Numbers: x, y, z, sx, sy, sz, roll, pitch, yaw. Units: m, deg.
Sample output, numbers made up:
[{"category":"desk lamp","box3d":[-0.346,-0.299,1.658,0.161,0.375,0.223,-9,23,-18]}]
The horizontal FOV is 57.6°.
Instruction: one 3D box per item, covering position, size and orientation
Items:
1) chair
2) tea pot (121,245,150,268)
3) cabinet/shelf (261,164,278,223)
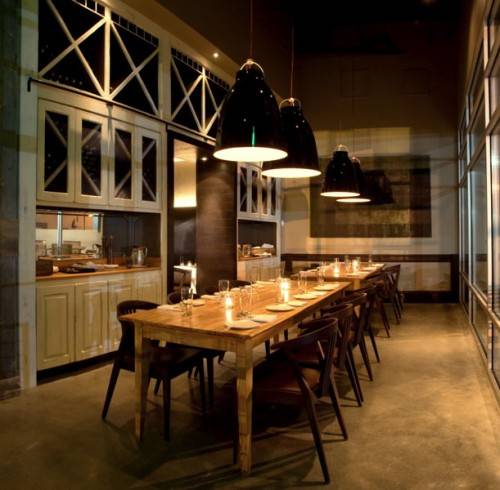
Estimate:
[{"category":"chair","box3d":[0.184,0.722,3.573,1.419,0.925,2.296,3,4,30]},{"category":"tea pot","box3d":[-1.260,0.134,4.930,0.177,0.216,0.250,-5,-8,44]},{"category":"cabinet/shelf","box3d":[0.271,-0.748,6.847,0.233,0.849,0.714,-2,3,17]}]
